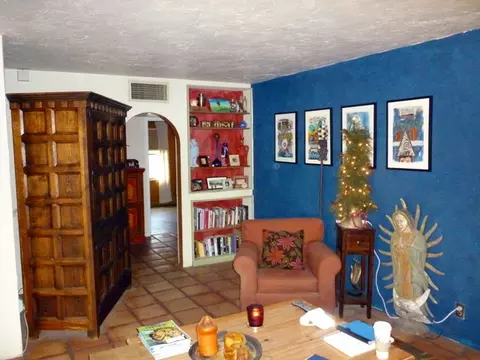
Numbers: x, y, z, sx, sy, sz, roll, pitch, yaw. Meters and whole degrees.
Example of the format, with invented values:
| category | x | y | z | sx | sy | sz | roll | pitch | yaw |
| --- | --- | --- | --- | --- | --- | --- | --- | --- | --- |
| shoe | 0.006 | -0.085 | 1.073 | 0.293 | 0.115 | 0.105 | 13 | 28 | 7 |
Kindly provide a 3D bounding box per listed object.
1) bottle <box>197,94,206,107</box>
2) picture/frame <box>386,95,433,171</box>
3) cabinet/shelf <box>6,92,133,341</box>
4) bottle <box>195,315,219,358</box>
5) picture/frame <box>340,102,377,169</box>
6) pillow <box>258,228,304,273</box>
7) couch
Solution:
| category | x | y | z | sx | sy | sz | roll | pitch | yaw |
| --- | --- | --- | --- | --- | --- | --- | --- | --- | --- |
| bottle | -0.619 | -1.318 | 6.478 | 0.092 | 0.215 | 0.177 | 6 | 12 | 44 |
| picture/frame | 1.877 | -0.513 | 4.368 | 0.097 | 0.784 | 0.541 | -8 | 10 | -33 |
| cabinet/shelf | -1.762 | 0.361 | 4.449 | 0.744 | 2.607 | 1.274 | 3 | 10 | 30 |
| bottle | -0.240 | 1.135 | 2.905 | 0.161 | 0.276 | 0.193 | -3 | 8 | -7 |
| picture/frame | 1.481 | -0.555 | 4.909 | 0.149 | 0.772 | 0.528 | -6 | 9 | -22 |
| pillow | 0.520 | 0.838 | 4.746 | 0.507 | 0.418 | 0.144 | 5 | -17 | 7 |
| couch | 0.549 | 1.042 | 4.846 | 1.412 | 1.077 | 1.063 | 0 | -4 | 5 |
